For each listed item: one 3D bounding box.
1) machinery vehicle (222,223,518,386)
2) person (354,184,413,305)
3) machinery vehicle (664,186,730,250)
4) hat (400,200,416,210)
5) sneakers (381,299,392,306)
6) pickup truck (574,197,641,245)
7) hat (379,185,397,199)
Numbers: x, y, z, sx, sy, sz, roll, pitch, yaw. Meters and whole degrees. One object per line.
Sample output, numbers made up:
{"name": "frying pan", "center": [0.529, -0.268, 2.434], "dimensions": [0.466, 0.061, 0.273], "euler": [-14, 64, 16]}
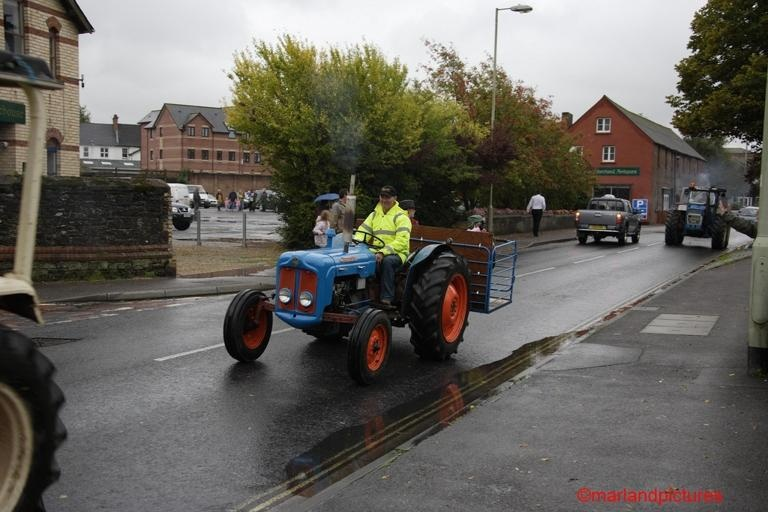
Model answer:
{"name": "machinery vehicle", "center": [-0.025, 0.606, 9.042], "dimensions": [2.629, 2.030, 4.748], "euler": [4, 3, 35]}
{"name": "person", "center": [-0.069, -0.149, 8.351], "dimensions": [0.864, 1.747, 1.001], "euler": [4, 3, 31]}
{"name": "machinery vehicle", "center": [16.996, -2.117, 29.029], "dimensions": [2.679, 3.195, 5.038], "euler": [8, 7, 37]}
{"name": "hat", "center": [0.503, -1.068, 11.586], "dimensions": [0.274, 0.154, 0.390], "euler": [0, 3, 0]}
{"name": "sneakers", "center": [0.019, 0.671, 7.963], "dimensions": [0.059, 0.073, 0.165], "euler": [0, -5, 30]}
{"name": "pickup truck", "center": [12.678, -2.086, 30.258], "dimensions": [2.082, 1.817, 3.950], "euler": [4, 12, 34]}
{"name": "hat", "center": [0.057, -1.001, 8.408], "dimensions": [0.230, 0.197, 0.343], "euler": [4, -3, 23]}
